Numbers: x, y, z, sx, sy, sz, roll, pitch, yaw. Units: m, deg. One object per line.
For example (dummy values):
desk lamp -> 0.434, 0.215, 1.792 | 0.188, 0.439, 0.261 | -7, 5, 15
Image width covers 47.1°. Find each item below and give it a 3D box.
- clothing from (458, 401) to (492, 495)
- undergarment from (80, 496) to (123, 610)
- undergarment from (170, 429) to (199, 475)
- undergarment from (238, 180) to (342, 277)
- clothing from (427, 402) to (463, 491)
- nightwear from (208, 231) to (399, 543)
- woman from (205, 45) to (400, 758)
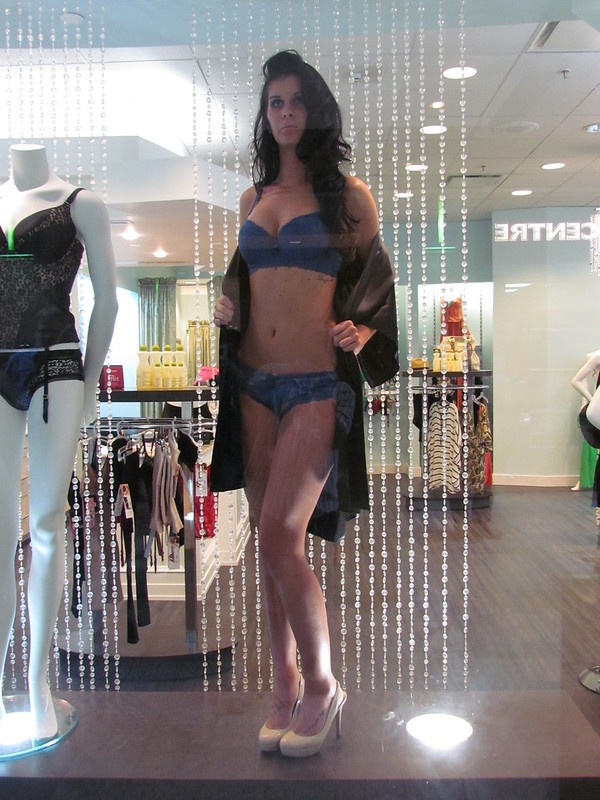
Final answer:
clothing -> 0.576, 0.143, 2.246 | 0.116, 0.330, 0.029 | 0, 1, -14
undergarment -> -0.638, 0.511, 2.225 | 0.072, 0.386, 0.017 | -3, 16, -26
undergarment -> -0.406, 0.189, 2.489 | 0.115, 0.131, 0.040 | 23, 19, 31
undergarment -> -0.026, -0.371, 1.653 | 0.209, 0.198, 0.146 | 0, -11, 18
clothing -> 0.487, 0.160, 2.312 | 0.130, 0.373, 0.039 | 10, 34, 25
nightwear -> 0.003, -0.078, 1.732 | 0.371, 0.876, 0.185 | 3, -19, -1
woman -> 0.009, -0.039, 1.701 | 0.353, 1.654, 0.379 | 6, 8, 43
